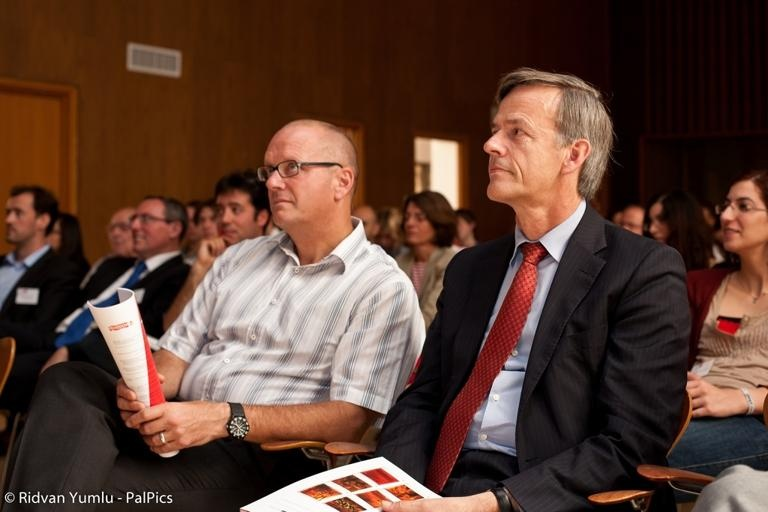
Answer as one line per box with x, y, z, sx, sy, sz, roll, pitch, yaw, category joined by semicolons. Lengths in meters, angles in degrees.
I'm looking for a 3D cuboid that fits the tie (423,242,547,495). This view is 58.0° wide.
0.372;0.417;2.548;0.154;1.126;0.258;19;-4;-43;tie
